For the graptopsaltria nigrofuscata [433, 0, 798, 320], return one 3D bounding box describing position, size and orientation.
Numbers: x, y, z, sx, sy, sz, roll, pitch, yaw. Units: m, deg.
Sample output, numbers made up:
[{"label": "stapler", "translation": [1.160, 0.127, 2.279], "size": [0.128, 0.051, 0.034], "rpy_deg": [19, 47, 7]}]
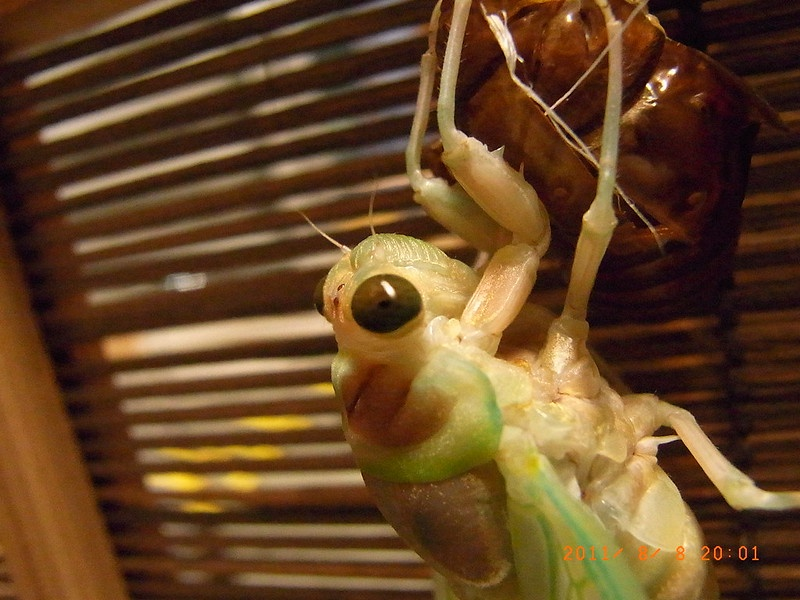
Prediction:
[{"label": "graptopsaltria nigrofuscata", "translation": [0.274, -0.188, 0.965], "size": [0.308, 0.409, 0.118], "rpy_deg": [-39, 21, 49]}]
